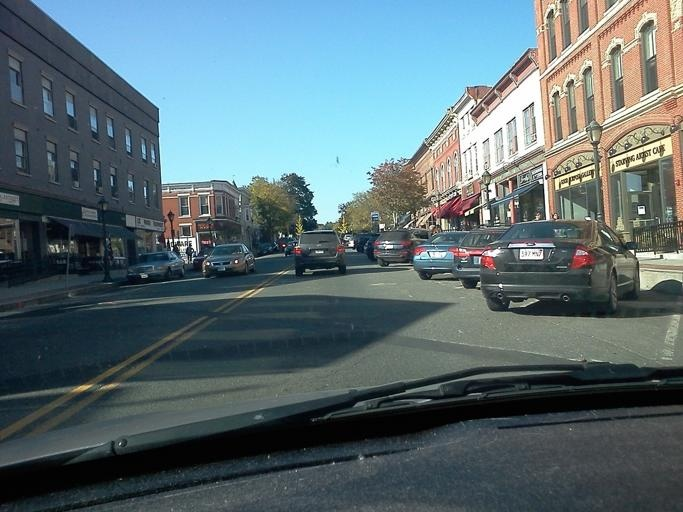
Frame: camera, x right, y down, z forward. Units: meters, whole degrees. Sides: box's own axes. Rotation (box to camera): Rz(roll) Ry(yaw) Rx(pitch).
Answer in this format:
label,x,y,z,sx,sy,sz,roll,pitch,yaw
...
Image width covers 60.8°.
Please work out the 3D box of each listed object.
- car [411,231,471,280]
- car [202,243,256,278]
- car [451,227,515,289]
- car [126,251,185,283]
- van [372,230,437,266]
label,x,y,z,sx,sy,sz,roll,pitch,yaw
car,3.148,0.045,18.311,1.590,1.198,3.605,0,4,17
car,-5.016,0.191,26.941,1.152,0.882,2.636,-3,-4,6
car,3.226,0.078,13.285,1.464,1.275,3.262,0,5,12
car,-9.099,0.523,28.727,1.922,1.250,3.095,-3,0,2
van,2.684,-0.441,26.983,1.290,1.039,2.956,0,6,29
